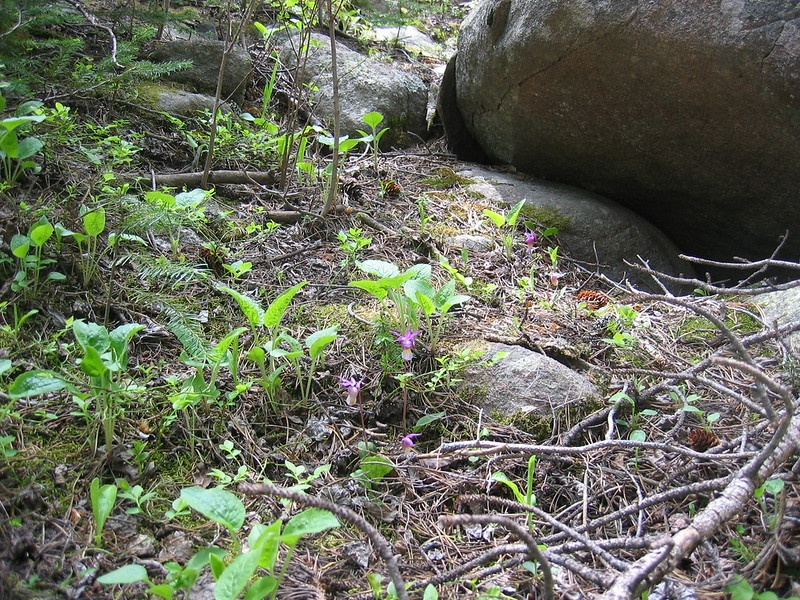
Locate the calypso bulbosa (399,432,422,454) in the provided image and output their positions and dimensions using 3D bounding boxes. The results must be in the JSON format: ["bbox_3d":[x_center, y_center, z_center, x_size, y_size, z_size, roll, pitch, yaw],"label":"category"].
[{"bbox_3d":[0.049,0.748,3.790,0.077,0.068,0.096,-2,15,6],"label":"calypso bulbosa"}]
